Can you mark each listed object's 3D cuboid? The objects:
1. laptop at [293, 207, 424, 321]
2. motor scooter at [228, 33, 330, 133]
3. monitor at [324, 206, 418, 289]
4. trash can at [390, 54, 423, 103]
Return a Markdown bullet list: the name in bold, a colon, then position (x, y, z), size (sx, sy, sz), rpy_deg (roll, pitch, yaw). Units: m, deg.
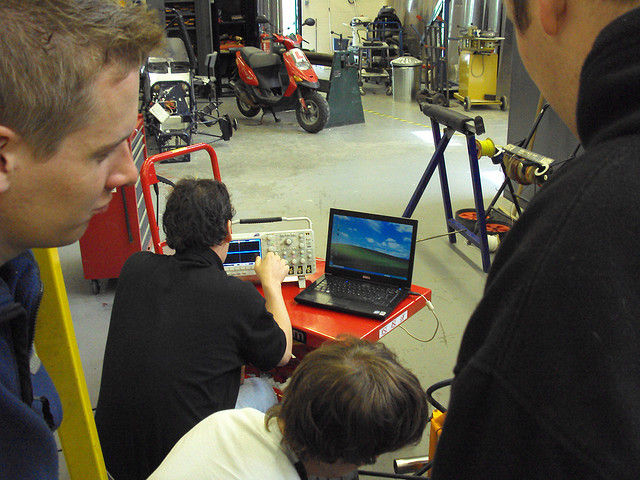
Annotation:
- **laptop**: position (0.158, 0.091, 2.244), size (0.427, 0.320, 0.387), rpy_deg (10, 18, 31)
- **motor scooter**: position (-0.606, -2.336, 7.846), size (0.696, 1.360, 2.087), rpy_deg (-13, 26, -41)
- **monitor**: position (0.232, 0.056, 2.397), size (0.449, 0.363, 0.036), rpy_deg (12, 13, 17)
- **trash can**: position (1.603, -3.023, 9.836), size (0.565, 0.881, 0.630), rpy_deg (-2, 21, -2)
